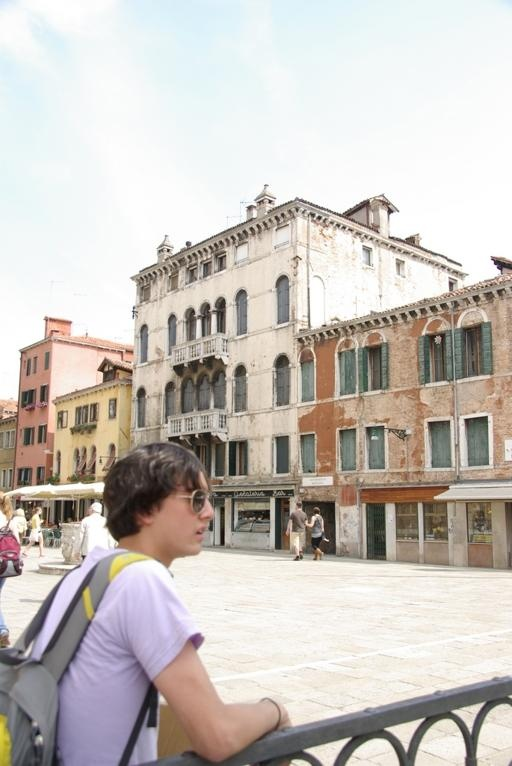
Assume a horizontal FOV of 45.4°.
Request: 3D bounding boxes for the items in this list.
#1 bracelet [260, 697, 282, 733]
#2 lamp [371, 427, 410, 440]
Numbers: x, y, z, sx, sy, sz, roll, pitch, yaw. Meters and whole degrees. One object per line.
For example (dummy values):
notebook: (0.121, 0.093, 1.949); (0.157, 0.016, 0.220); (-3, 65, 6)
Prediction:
bracelet: (0.052, 0.811, 1.510); (0.018, 0.068, 0.074); (-3, -50, -38)
lamp: (6.091, 2.182, 27.020); (1.042, 0.451, 0.583); (-2, -3, 40)
